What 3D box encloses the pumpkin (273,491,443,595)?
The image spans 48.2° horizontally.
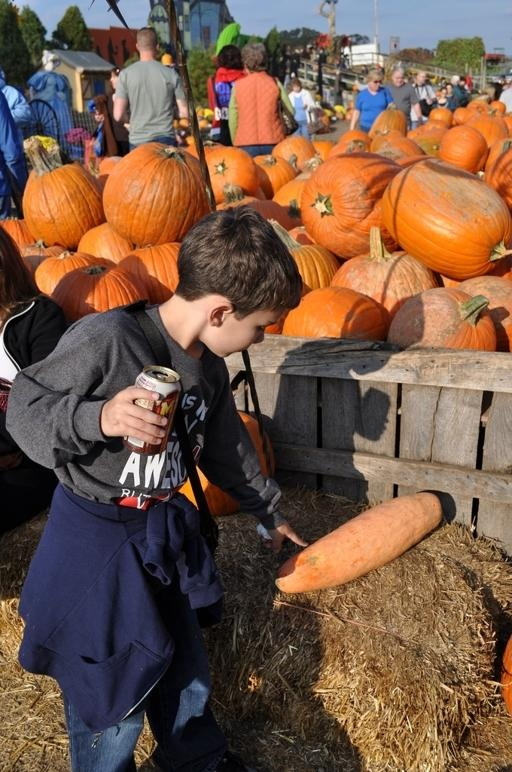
[{"bbox_3d":[0.498,0.610,2.481,0.885,0.282,0.266,-28,40,-28],"label":"pumpkin"}]
